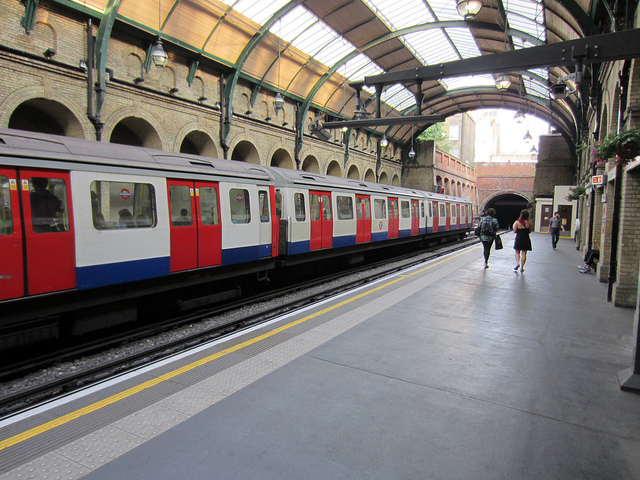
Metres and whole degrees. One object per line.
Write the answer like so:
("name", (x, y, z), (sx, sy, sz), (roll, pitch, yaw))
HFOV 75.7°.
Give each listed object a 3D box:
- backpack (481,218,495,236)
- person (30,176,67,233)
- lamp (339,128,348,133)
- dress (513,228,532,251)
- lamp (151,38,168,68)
("backpack", (5.280, -0.417, 12.931), (0.347, 0.733, 0.464), (6, -5, -38))
("person", (-4.562, -0.591, 6.850), (0.486, 0.926, 0.200), (-10, 16, -41))
("lamp", (1.787, -8.406, 31.703), (0.313, 0.359, 0.321), (-8, 12, -44))
("dress", (6.229, -0.022, 12.607), (0.445, 0.780, 0.542), (7, 14, 27))
("lamp", (-5.530, -6.426, 14.108), (0.433, 0.905, 1.155), (-5, 14, -22))
